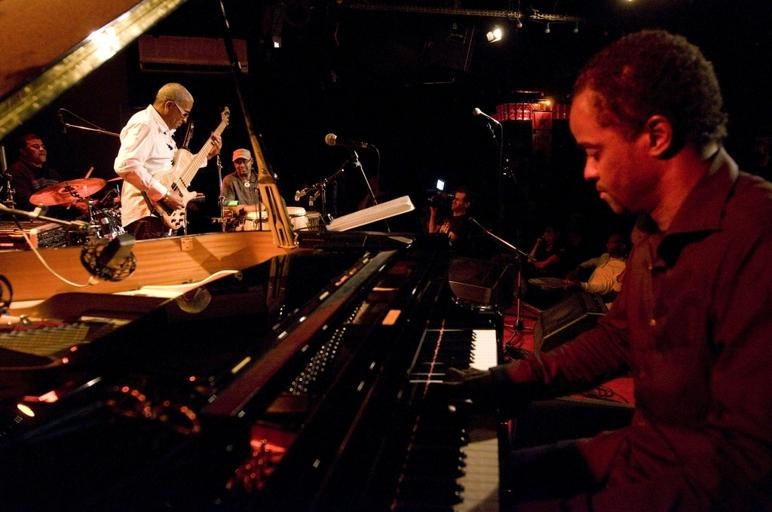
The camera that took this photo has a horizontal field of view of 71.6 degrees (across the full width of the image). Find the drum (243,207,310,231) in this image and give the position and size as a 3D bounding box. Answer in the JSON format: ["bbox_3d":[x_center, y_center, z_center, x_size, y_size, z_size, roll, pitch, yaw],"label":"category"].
[{"bbox_3d":[-1.174,-0.366,5.533,0.580,0.213,0.568,-1,-1,0],"label":"drum"}]

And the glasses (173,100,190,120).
[{"bbox_3d":[-1.795,-1.279,4.706,0.044,0.146,0.144,-27,-7,11],"label":"glasses"}]
